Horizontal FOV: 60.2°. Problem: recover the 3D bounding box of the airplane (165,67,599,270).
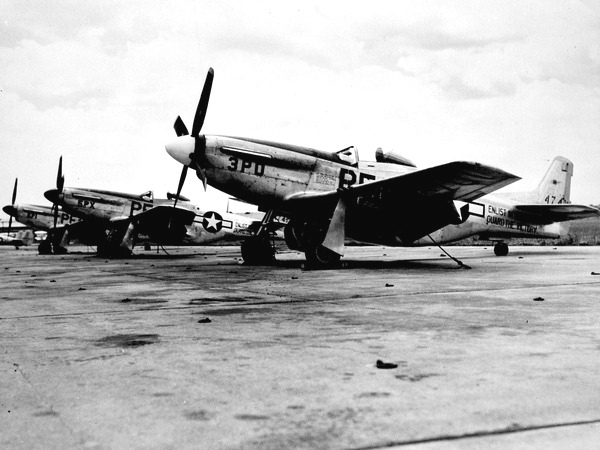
[{"bbox_3d":[1.490,-0.445,10.457,6.238,2.477,6.864,8,-4,-16],"label":"airplane"}]
